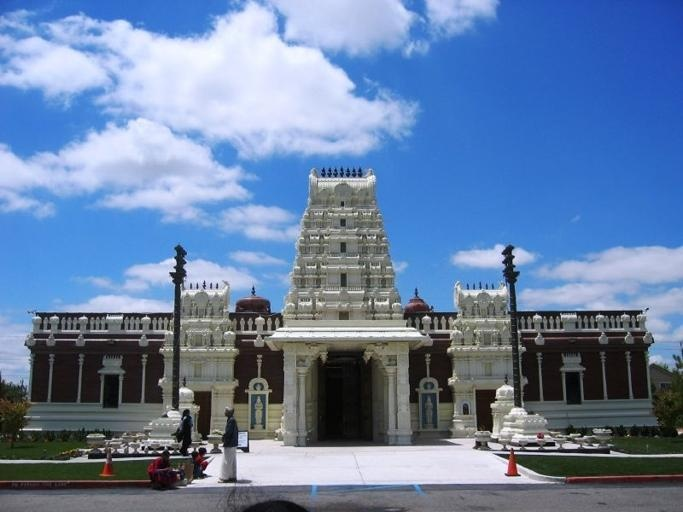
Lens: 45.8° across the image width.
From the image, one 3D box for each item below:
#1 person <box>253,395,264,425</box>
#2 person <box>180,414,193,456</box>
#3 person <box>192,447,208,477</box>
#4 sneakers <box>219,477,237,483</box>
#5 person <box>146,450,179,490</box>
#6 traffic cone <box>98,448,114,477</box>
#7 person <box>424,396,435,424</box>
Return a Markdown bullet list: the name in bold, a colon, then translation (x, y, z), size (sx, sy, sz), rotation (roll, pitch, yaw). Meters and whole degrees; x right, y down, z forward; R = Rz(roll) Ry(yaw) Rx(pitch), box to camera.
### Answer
- **person**: translation (-4.438, 8.464, 44.063), size (0.575, 1.752, 0.185), rotation (0, -12, -9)
- **person**: translation (-6.070, 6.905, 31.568), size (0.416, 1.706, 1.317), rotation (1, -12, -12)
- **person**: translation (-5.407, 7.929, 31.123), size (0.614, 1.050, 2.789), rotation (0, -12, -9)
- **sneakers**: translation (-4.065, 8.145, 29.292), size (0.552, 0.136, 0.208), rotation (9, -19, -16)
- **person**: translation (-6.359, 7.660, 28.970), size (1.092, 1.317, 0.520), rotation (1, -12, -10)
- **traffic cone**: translation (-9.207, 8.127, 31.710), size (0.828, 1.073, 0.812), rotation (2, -20, -3)
- **person**: translation (4.828, 8.464, 44.067), size (0.449, 1.608, 0.254), rotation (-1, -12, -3)
